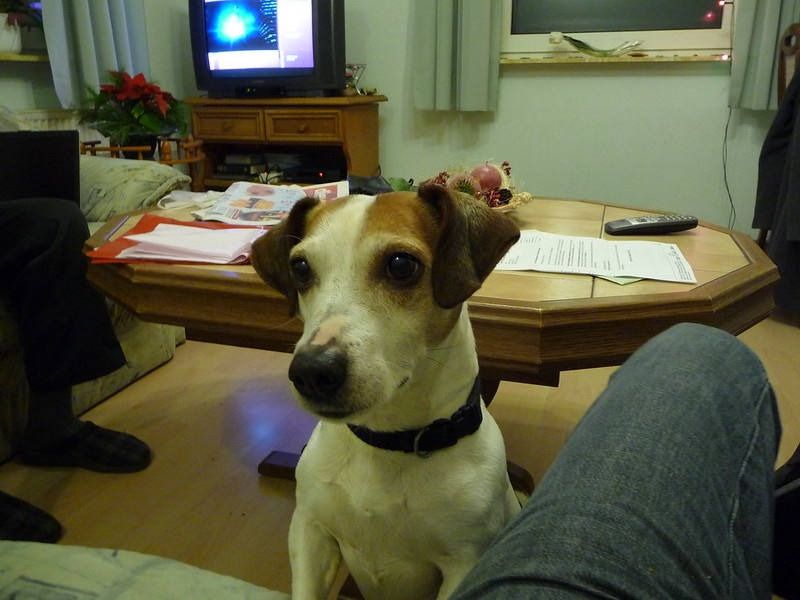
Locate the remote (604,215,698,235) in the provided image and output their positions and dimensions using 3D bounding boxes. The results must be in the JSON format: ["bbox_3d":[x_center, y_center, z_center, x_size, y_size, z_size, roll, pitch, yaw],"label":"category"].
[{"bbox_3d":[0.653,-0.191,1.427,0.188,0.040,0.087,0,12,-5],"label":"remote"}]

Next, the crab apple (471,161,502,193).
[{"bbox_3d":[0.252,-0.349,1.603,0.098,0.108,0.094,-2,1,-3],"label":"crab apple"}]

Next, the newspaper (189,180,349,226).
[{"bbox_3d":[-0.362,-0.254,1.482,0.235,0.073,0.338,11,22,12],"label":"newspaper"}]

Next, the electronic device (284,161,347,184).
[{"bbox_3d":[-0.564,-0.815,3.614,0.327,0.070,0.294,7,19,23],"label":"electronic device"}]

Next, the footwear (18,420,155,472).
[{"bbox_3d":[-0.935,0.468,1.704,0.440,0.144,0.155,1,21,0],"label":"footwear"}]
